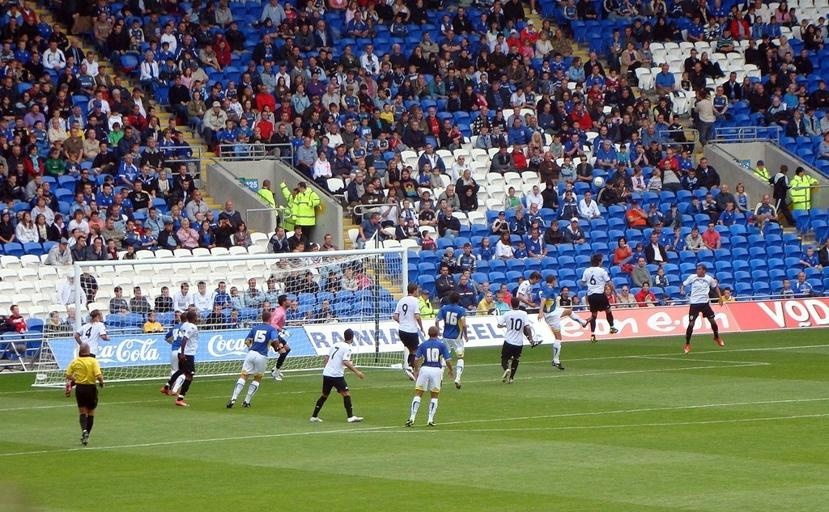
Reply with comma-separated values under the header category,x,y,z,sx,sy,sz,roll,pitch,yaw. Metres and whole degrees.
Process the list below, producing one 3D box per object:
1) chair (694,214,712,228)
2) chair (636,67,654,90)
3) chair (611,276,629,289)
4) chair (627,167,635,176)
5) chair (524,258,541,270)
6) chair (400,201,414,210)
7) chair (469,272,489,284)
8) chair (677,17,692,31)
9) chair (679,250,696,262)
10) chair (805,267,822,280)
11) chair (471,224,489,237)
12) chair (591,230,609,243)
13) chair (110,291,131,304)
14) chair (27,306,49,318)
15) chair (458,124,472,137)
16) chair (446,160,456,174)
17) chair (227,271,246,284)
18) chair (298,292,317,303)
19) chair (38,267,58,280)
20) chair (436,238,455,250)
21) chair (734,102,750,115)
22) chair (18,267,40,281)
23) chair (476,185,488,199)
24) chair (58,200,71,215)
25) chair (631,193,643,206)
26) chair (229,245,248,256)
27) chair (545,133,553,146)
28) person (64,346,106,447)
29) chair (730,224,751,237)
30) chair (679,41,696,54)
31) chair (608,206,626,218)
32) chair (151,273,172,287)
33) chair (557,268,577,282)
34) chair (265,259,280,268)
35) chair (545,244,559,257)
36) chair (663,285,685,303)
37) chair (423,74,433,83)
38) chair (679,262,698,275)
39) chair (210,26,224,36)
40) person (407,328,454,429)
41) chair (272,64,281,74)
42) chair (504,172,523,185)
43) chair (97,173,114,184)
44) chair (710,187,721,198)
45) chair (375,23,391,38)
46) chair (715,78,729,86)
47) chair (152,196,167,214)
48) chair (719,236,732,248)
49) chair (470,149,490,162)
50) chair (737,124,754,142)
category,x,y,z,sx,sy,sz,roll,pitch,yaw
chair,11.363,-1.404,52.395,0.532,0.565,0.457,4,14,33
chair,10.012,-7.661,57.412,0.851,0.939,0.879,-2,8,0
chair,7.681,0.935,49.322,0.514,0.515,0.465,0,-7,-44
chair,8.586,-3.369,53.017,0.333,0.398,0.347,3,5,1
chair,4.365,0.281,48.946,0.470,0.484,0.424,1,5,-3
chair,-0.269,-1.911,49.208,0.594,0.314,0.346,-4,1,-41
chair,2.344,0.765,47.917,0.411,0.477,0.451,1,-11,-5
chair,11.993,-10.318,59.262,0.562,0.644,0.733,1,22,-7
chair,10.467,0.007,50.879,0.410,0.442,0.513,6,12,36
chair,15.394,0.643,51.249,0.525,0.435,0.405,-5,2,-4
chair,2.451,-0.975,49.602,0.507,0.423,0.466,-4,5,4
chair,7.076,-0.770,50.891,0.514,0.534,0.461,0,5,-9
chair,-9.336,1.300,42.176,0.340,0.341,0.435,5,1,5
chair,-12.321,1.811,43.547,0.445,0.572,0.440,0,-1,-18
chair,2.058,-5.046,53.295,0.479,0.585,0.539,-1,8,-3
chair,1.483,-3.422,51.503,0.446,0.526,0.432,0,-2,24
chair,-5.987,0.753,44.859,0.520,0.560,0.447,0,2,-9
chair,-3.587,1.401,44.075,0.564,0.340,0.192,-3,1,1
chair,-12.202,0.586,44.183,0.559,0.588,0.492,-1,5,-21
chair,1.146,-0.472,48.808,0.447,0.501,0.476,3,4,-3
chair,14.048,-6.431,57.067,0.696,0.424,0.299,-4,1,-32
chair,-12.774,0.579,43.950,0.435,0.526,0.466,-2,9,-19
chair,2.643,-2.470,51.422,0.453,0.383,0.398,-1,-1,36
chair,-12.175,-1.779,46.200,0.405,0.639,0.448,-4,1,-14
chair,8.760,-2.272,52.324,0.508,0.585,0.498,0,-5,8
chair,-6.175,-0.203,46.395,0.442,0.578,0.429,1,-2,-21
chair,5.356,-4.673,53.387,0.410,0.479,0.421,1,-5,-4
person,-8.314,3.513,34.175,1.090,2.649,1.118,2,-4,-26
chair,12.744,-0.940,52.089,0.515,0.565,0.582,-12,10,-1
chair,12.004,-9.141,58.543,0.592,0.597,0.605,-1,-9,-12
chair,7.896,-1.761,51.857,0.543,0.467,0.483,7,-1,9
chair,-8.358,0.784,43.938,0.463,0.531,0.462,1,-3,-26
chair,5.652,0.677,49.245,0.519,0.538,0.480,-1,3,12
chair,-4.882,0.248,45.731,0.418,0.351,0.310,5,-3,11
chair,5.174,-0.200,49.734,0.450,0.394,0.425,0,3,29
chair,9.574,1.394,48.998,0.641,0.715,0.633,1,-1,-18
chair,0.577,-7.273,54.233,0.389,0.375,0.175,0,-6,-23
chair,10.381,0.455,50.421,0.471,0.432,0.507,0,4,13
chair,-7.844,-8.968,52.763,0.402,0.291,0.396,-12,21,-36
person,0.429,3.224,35.754,1.089,2.670,0.876,4,-6,1
chair,-5.410,-7.365,52.146,0.266,0.345,0.351,-2,36,-9
chair,3.872,-3.034,51.917,0.496,0.611,0.538,-1,-3,-8
chair,-10.960,-2.750,46.982,0.460,0.378,0.377,-2,2,23
chair,12.133,-2.615,53.633,0.372,0.421,0.482,0,-5,15
chair,-1.349,-9.451,55.703,0.628,0.812,0.591,1,4,-5
chair,13.292,-7.567,57.611,0.514,0.313,1.160,-3,1,21
chair,-9.023,-1.830,47.005,0.490,0.494,0.564,-4,-1,-22
chair,12.112,-0.547,51.787,0.420,0.358,0.434,7,7,36
chair,2.564,-3.991,52.654,0.512,0.709,0.551,-2,0,-13
chair,14.032,-5.210,56.513,0.857,0.804,0.627,-1,0,-14
